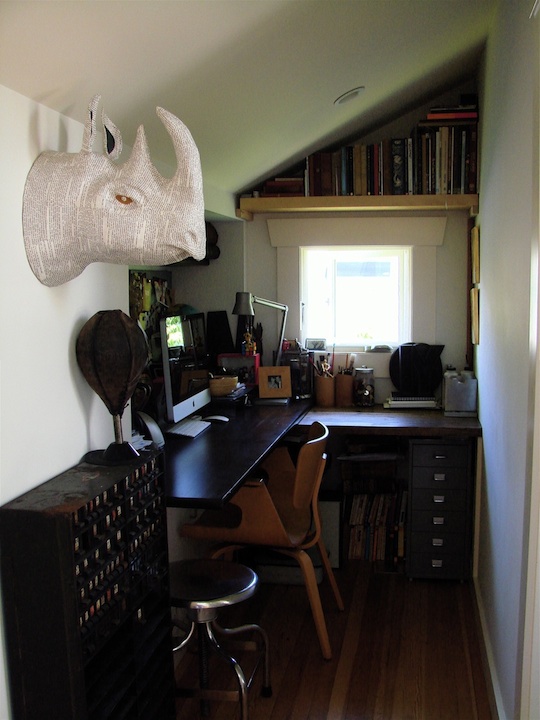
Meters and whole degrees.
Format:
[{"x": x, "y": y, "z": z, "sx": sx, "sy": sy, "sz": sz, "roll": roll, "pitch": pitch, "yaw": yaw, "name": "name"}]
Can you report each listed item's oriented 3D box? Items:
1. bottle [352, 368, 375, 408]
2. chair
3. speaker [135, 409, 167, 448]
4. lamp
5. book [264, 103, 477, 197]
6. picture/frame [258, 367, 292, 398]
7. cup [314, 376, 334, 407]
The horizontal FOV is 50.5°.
[{"x": 0.542, "y": 0.164, "z": 3.316, "sx": 0.118, "sy": 0.295, "sz": 0.177, "roll": 0, "pitch": 0, "yaw": 6, "name": "bottle"}, {"x": -0.022, "y": 0.696, "z": 2.207, "sx": 0.526, "sy": 0.831, "sz": 0.566, "roll": -2, "pitch": 1, "yaw": -19, "name": "chair"}, {"x": -0.388, "y": 0.231, "z": 1.932, "sx": 0.110, "sy": 0.116, "sz": 0.157, "roll": 2, "pitch": 5, "yaw": 25, "name": "speaker"}, {"x": -0.046, "y": -0.161, "z": 3.215, "sx": 0.264, "sy": 0.409, "sz": 0.653, "roll": 0, "pitch": 5, "yaw": 4, "name": "lamp"}, {"x": 0.611, "y": -1.123, "z": 3.201, "sx": 1.032, "sy": 0.469, "sz": 0.166, "roll": 1, "pitch": 4, "yaw": 12, "name": "book"}, {"x": 0.020, "y": 0.124, "z": 3.099, "sx": 0.108, "sy": 0.162, "sz": 0.009, "roll": -2, "pitch": 0, "yaw": -8, "name": "picture/frame"}, {"x": 0.318, "y": 0.184, "z": 3.427, "sx": 0.116, "sy": 0.275, "sz": 0.148, "roll": 0, "pitch": 4, "yaw": -6, "name": "cup"}]
